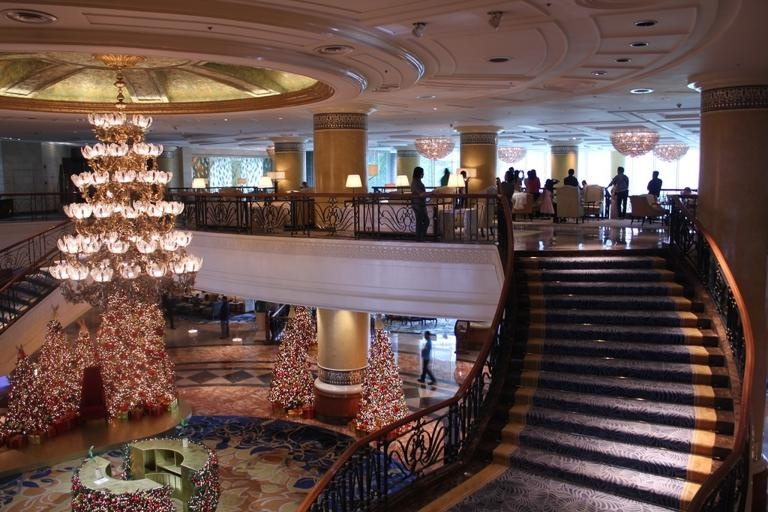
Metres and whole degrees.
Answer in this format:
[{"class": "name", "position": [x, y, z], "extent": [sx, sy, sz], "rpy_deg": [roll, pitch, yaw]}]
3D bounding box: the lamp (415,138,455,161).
[{"class": "lamp", "position": [2.186, -4.694, 22.110], "extent": [1.196, 0.567, 1.167], "rpy_deg": [1, 3, 18]}]

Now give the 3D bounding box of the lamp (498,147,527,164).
[{"class": "lamp", "position": [6.249, -5.019, 25.137], "extent": [0.997, 0.395, 0.993], "rpy_deg": [-1, 0, 30]}]

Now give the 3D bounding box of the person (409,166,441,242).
[{"class": "person", "position": [0.773, -1.124, 10.824], "extent": [0.411, 1.516, 1.299], "rpy_deg": [4, 7, 4]}]

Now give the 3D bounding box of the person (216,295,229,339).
[{"class": "person", "position": [-6.377, 2.508, 20.480], "extent": [0.358, 1.439, 0.883], "rpy_deg": [1, 8, -16]}]

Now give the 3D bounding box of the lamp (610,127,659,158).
[{"class": "lamp", "position": [8.580, -3.911, 17.465], "extent": [1.261, 0.565, 1.233], "rpy_deg": [-4, 5, -44]}]

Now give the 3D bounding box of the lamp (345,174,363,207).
[{"class": "lamp", "position": [-0.820, -2.028, 14.089], "extent": [0.462, 0.506, 0.687], "rpy_deg": [2, 7, -5]}]
